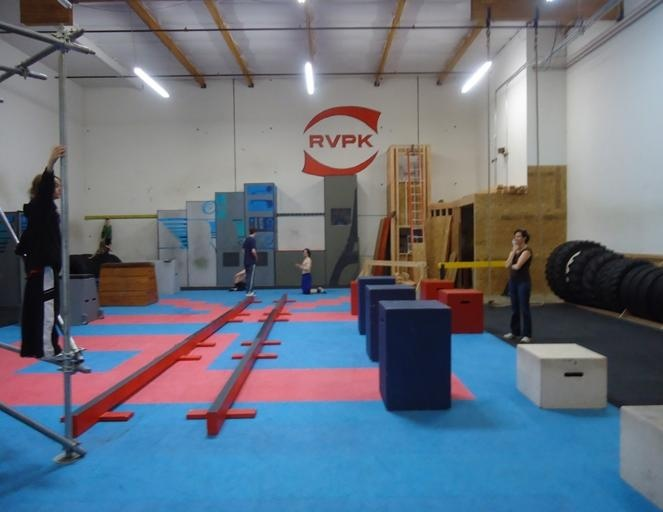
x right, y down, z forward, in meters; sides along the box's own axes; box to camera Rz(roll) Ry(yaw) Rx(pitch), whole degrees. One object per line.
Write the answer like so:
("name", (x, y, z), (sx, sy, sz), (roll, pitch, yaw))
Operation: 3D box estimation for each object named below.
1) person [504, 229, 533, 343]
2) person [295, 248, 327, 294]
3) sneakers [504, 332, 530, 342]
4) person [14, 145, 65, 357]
("person", (2.847, 0.464, 7.749), (0.402, 1.685, 0.962), (1, 5, 19))
("person", (-0.572, 0.370, 13.279), (0.650, 1.137, 1.254), (-1, 5, -5))
("sneakers", (2.877, 1.255, 7.884), (0.304, 0.137, 0.111), (6, -6, -4))
("person", (-3.071, -0.026, 5.420), (0.562, 2.201, 0.444), (-2, 5, -18))
